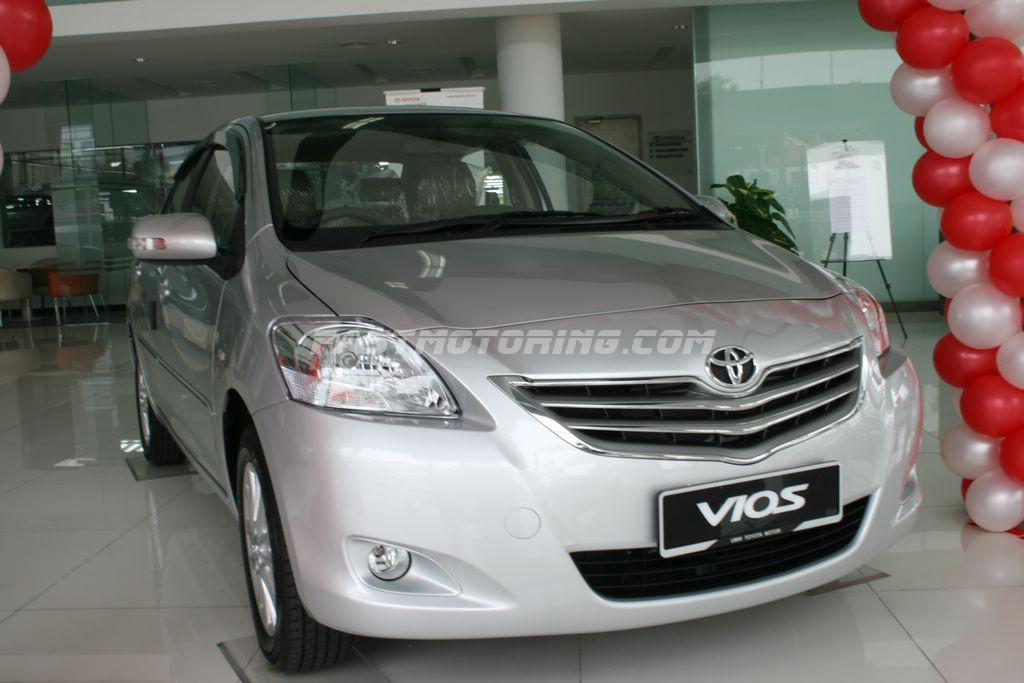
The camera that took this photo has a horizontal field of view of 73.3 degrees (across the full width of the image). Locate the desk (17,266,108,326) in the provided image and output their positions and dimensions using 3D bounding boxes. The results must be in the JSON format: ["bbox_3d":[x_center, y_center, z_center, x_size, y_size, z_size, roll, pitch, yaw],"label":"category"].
[{"bbox_3d":[-6.512,-0.731,10.106,0.956,0.895,0.947,-6,6,-33],"label":"desk"}]
